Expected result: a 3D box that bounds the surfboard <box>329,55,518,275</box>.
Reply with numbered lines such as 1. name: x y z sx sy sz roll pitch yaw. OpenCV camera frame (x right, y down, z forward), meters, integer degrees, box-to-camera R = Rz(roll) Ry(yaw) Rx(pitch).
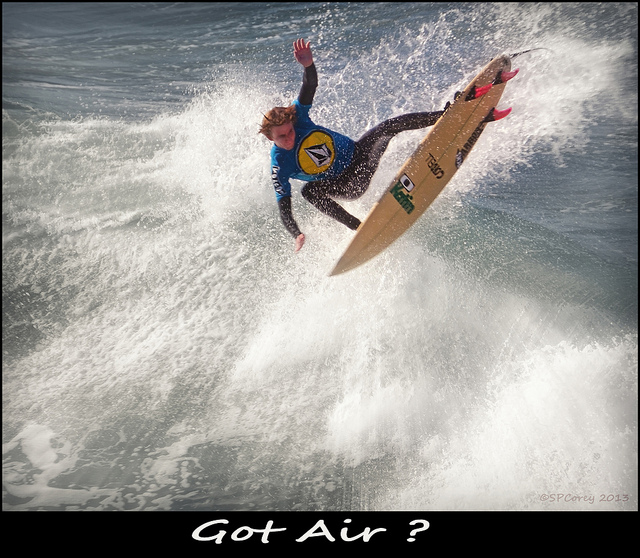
1. surfboard: 0.883 -1.058 5.125 0.477 0.287 2.526 44 87 -14
